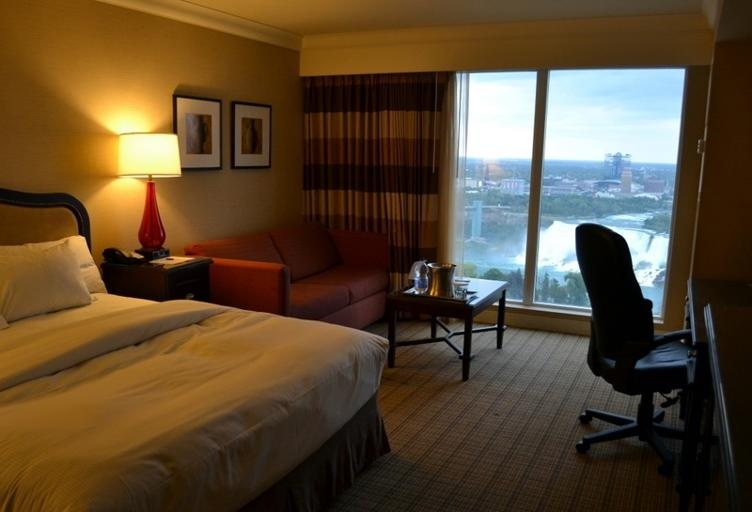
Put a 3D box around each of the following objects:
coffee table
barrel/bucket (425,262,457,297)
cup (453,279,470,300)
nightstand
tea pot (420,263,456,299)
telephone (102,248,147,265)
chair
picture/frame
[{"bbox_3d":[0.705,0.624,5.110,0.838,0.717,1.136,7,12,31],"label":"coffee table"},{"bbox_3d":[0.567,0.205,4.757,0.309,0.278,0.259,-2,10,-16],"label":"barrel/bucket"},{"bbox_3d":[0.740,0.289,4.673,0.152,0.175,0.144,0,4,0],"label":"cup"},{"bbox_3d":[-1.803,0.078,4.539,0.491,0.503,0.508,6,15,17],"label":"nightstand"},{"bbox_3d":[0.568,0.203,4.761,0.295,0.272,0.262,-1,10,0],"label":"tea pot"},{"bbox_3d":[-2.059,0.003,4.417,0.240,0.083,0.183,5,9,13],"label":"telephone"},{"bbox_3d":[1.812,0.574,3.563,0.820,1.445,0.795,1,9,5],"label":"chair"},{"bbox_3d":[-1.515,-1.226,5.445,0.059,0.765,1.209,10,18,33],"label":"picture/frame"}]
